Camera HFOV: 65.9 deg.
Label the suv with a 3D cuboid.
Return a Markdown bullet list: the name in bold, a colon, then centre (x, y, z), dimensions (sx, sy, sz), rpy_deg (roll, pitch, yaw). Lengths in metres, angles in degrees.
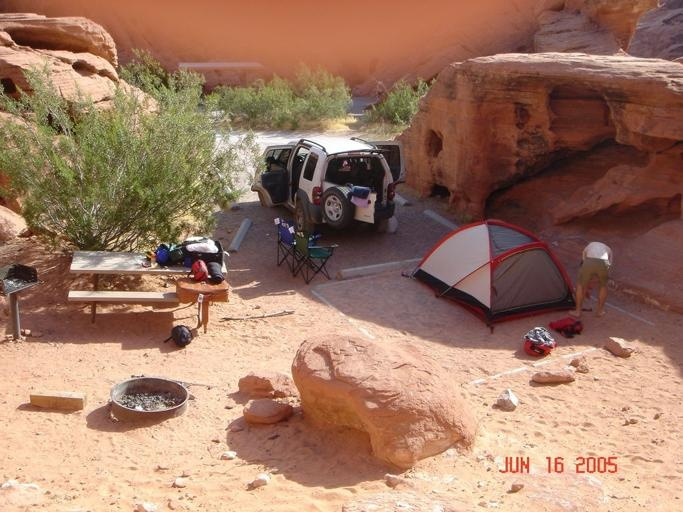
- **suv**: centre (0.083, -1.855, 13.192), dimensions (4.287, 1.766, 4.612), rpy_deg (-3, 21, -14)

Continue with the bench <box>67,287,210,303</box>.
- **bench**: centre (-3.416, 0.646, 8.447), dimensions (1.939, 0.051, 0.241), rpy_deg (3, 42, -13)

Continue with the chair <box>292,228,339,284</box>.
- **chair**: centre (-0.583, 0.046, 11.031), dimensions (0.918, 0.979, 1.006), rpy_deg (-12, 27, -20)

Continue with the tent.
- **tent**: centre (2.705, 0.226, 10.046), dimensions (2.455, 0.996, 2.369), rpy_deg (-11, 27, -27)
